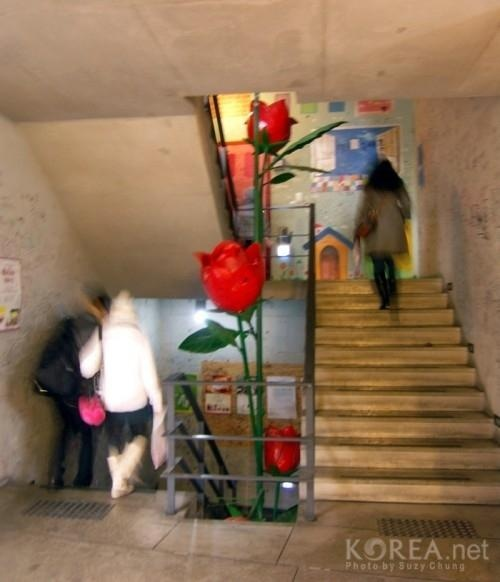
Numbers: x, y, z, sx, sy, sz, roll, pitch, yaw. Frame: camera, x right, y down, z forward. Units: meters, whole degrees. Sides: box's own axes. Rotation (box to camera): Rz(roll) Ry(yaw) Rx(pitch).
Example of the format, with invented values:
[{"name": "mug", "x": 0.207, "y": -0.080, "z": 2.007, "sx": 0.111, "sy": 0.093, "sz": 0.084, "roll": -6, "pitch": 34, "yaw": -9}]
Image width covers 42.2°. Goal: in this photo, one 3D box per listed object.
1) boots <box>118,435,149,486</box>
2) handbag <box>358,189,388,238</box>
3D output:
[{"name": "boots", "x": -0.253, "y": 0.378, "z": 1.439, "sx": 0.068, "sy": 0.123, "sz": 0.043, "roll": 2, "pitch": -4, "yaw": 14}, {"name": "handbag", "x": 0.538, "y": -0.306, "z": 2.704, "sx": 0.066, "sy": 0.128, "sz": 0.174, "roll": 28, "pitch": 29, "yaw": 0}]
